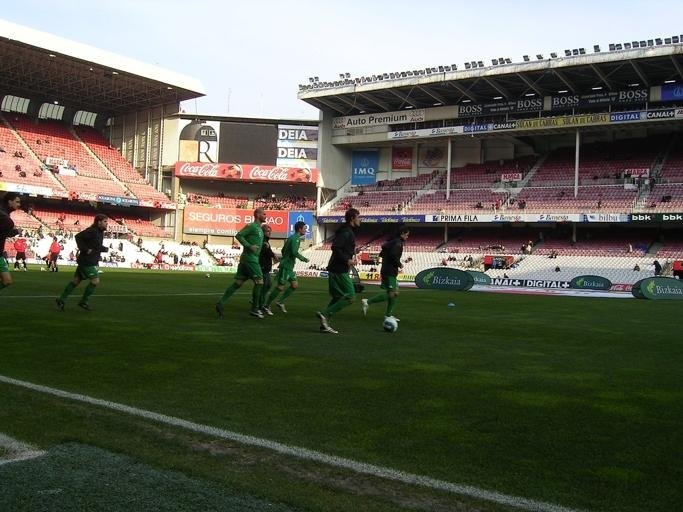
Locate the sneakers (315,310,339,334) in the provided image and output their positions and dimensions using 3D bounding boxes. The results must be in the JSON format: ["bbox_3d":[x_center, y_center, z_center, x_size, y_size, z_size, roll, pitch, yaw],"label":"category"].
[{"bbox_3d":[-0.210,1.075,10.019,0.363,0.285,0.291,5,3,14],"label":"sneakers"}]

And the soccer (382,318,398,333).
[{"bbox_3d":[0.825,1.158,10.571,0.231,0.211,0.336,5,3,1],"label":"soccer"}]

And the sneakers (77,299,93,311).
[{"bbox_3d":[-5.013,0.964,12.036,0.209,0.105,0.430,-3,5,-35],"label":"sneakers"}]

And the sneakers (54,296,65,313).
[{"bbox_3d":[-5.431,0.945,11.822,0.197,0.184,0.530,6,-22,-31],"label":"sneakers"}]
